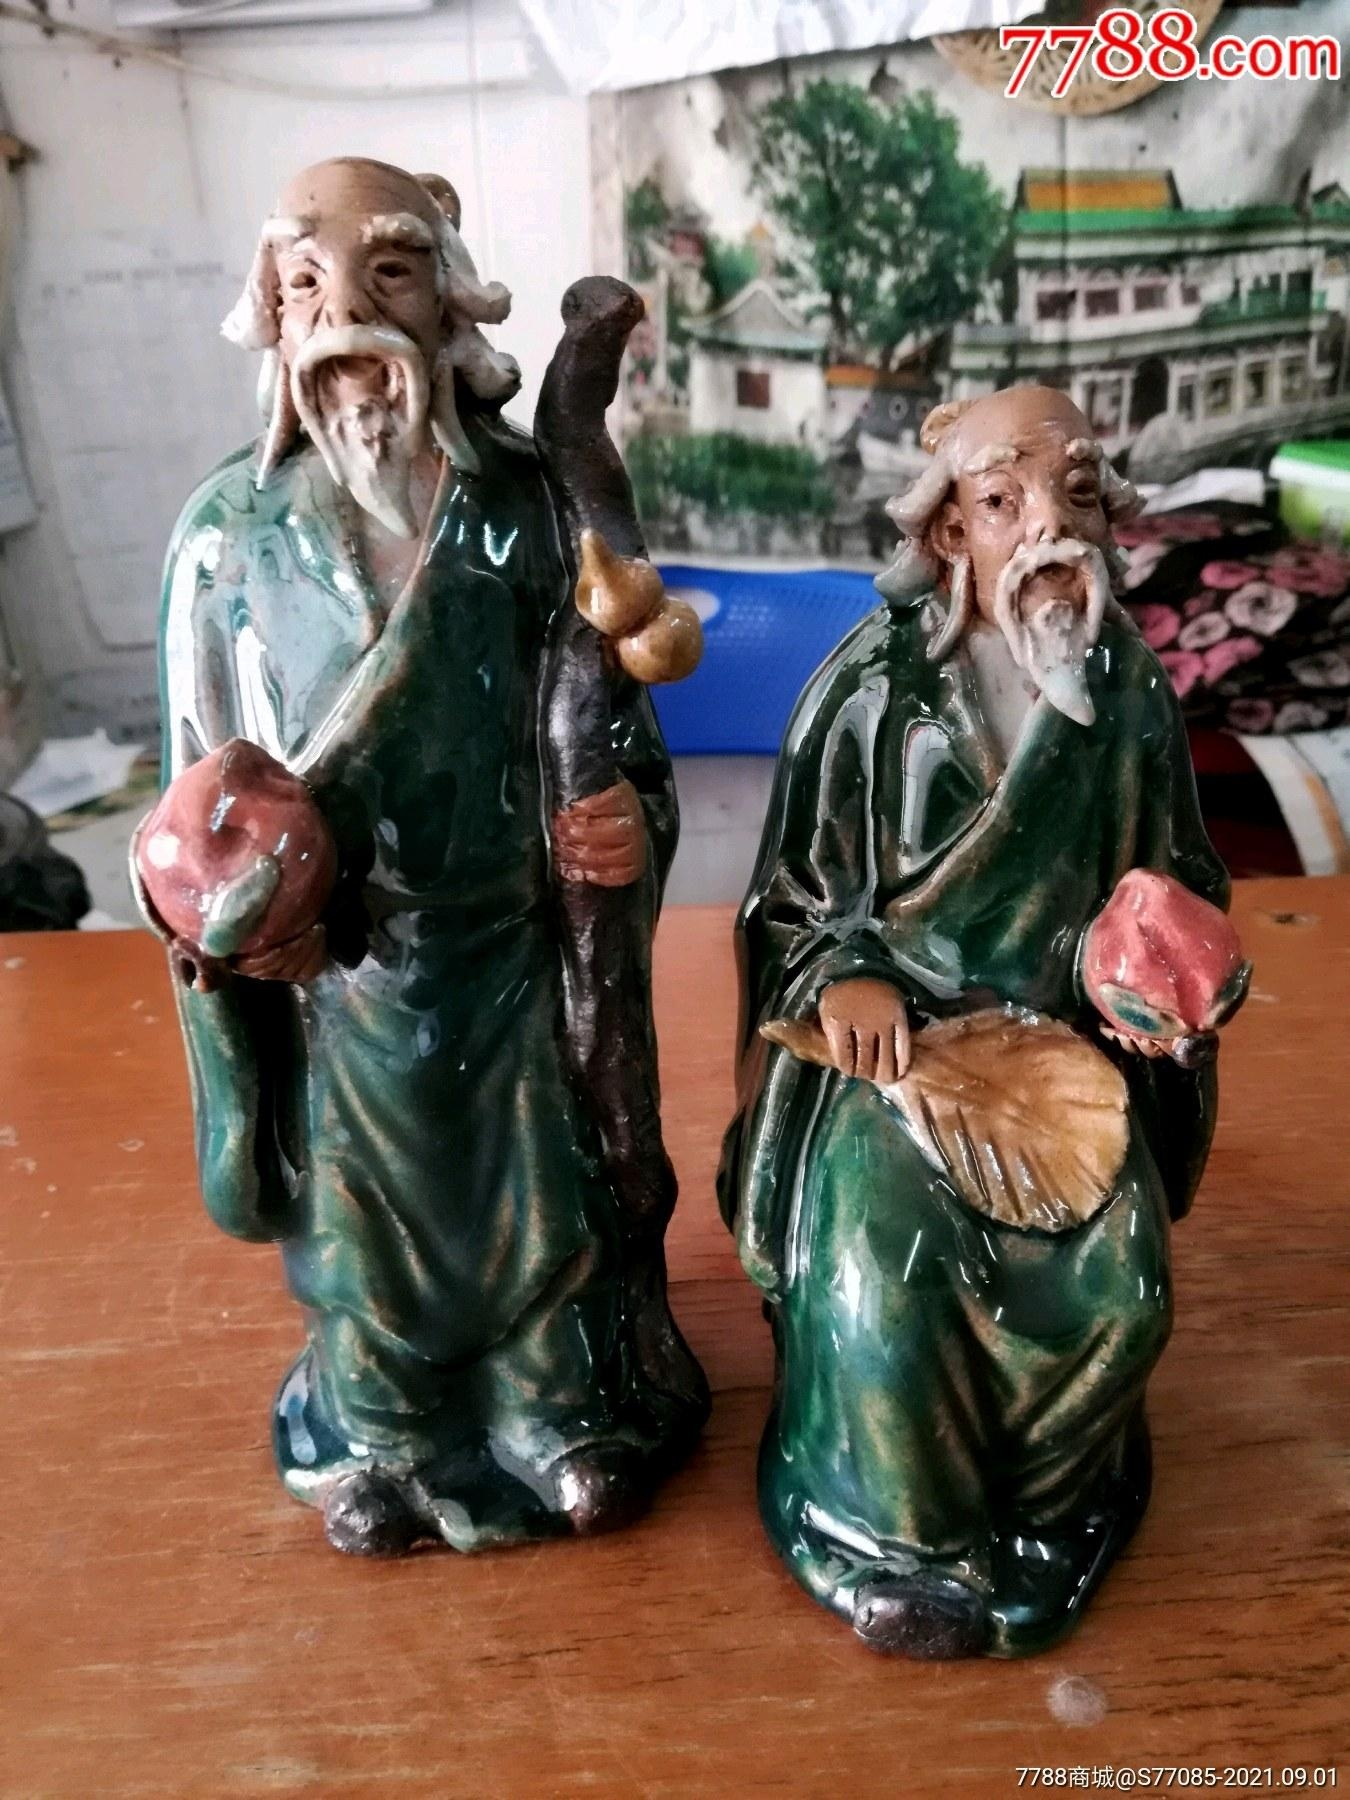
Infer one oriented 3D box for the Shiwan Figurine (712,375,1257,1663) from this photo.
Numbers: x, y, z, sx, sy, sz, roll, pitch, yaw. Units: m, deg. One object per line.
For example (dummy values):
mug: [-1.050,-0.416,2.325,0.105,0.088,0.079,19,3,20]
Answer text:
Shiwan Figurine: [0.316,0.139,2.113,0.569,1.327,0.643,0,23,14]
